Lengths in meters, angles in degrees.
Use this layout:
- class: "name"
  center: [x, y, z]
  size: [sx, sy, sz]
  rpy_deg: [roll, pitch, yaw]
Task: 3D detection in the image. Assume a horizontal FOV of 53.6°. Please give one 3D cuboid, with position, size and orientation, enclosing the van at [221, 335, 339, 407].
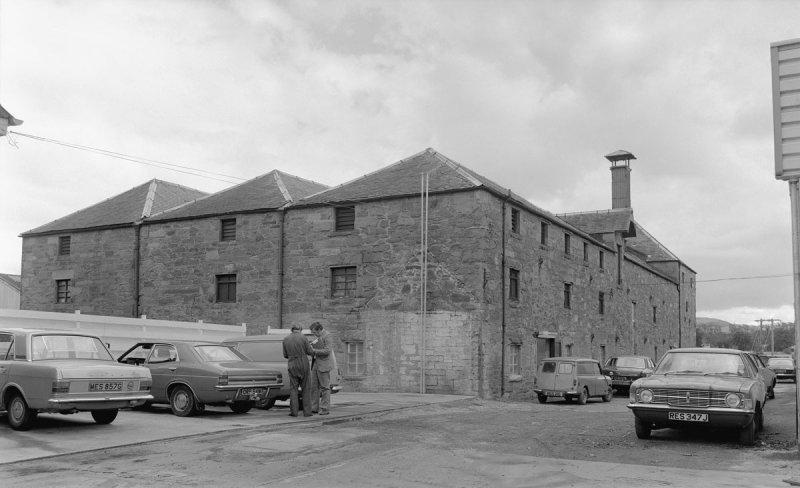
- class: "van"
  center: [-3.797, 3.756, 24.141]
  size: [3.576, 1.350, 2.008]
  rpy_deg: [-1, -6, 28]

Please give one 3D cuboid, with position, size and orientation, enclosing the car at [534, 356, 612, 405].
- class: "car"
  center: [7.416, 5.459, 32.051]
  size: [1.779, 1.119, 2.951]
  rpy_deg: [-4, -6, 40]

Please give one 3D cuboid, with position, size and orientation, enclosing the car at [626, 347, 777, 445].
- class: "car"
  center: [7.924, 3.930, 20.809]
  size: [3.237, 2.310, 2.557]
  rpy_deg: [1, -4, 18]

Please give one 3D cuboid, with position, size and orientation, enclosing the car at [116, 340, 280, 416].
- class: "car"
  center: [-5.435, 3.872, 22.686]
  size: [4.576, 1.288, 2.122]
  rpy_deg: [1, -4, 31]

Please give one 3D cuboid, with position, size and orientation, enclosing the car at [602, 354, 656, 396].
- class: "car"
  center: [10.379, 5.822, 35.684]
  size: [2.281, 1.520, 4.065]
  rpy_deg: [-7, -13, 28]
